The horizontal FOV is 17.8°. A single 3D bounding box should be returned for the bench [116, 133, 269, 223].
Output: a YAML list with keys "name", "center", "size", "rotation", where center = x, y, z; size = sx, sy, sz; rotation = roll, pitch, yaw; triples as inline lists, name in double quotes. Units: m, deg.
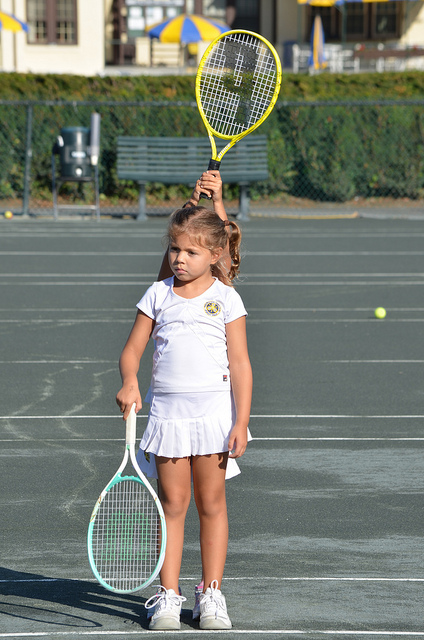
- name: "bench"
  center: [-0.319, -1.960, 17.931]
  size: [2.184, 1.606, 0.811]
  rotation: [0, 1, -2]

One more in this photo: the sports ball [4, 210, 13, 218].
- name: "sports ball"
  center: [-2.993, -1.568, 19.897]
  size: [0.098, 0.125, 0.131]
  rotation: [-4, 10, 2]

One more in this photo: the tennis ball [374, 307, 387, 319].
- name: "tennis ball"
  center: [1.556, -0.064, 12.470]
  size: [0.099, 0.093, 0.234]
  rotation: [2, 10, 7]

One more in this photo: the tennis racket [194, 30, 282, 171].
- name: "tennis racket"
  center: [0.147, -1.346, 7.404]
  size: [0.406, 1.210, 0.052]
  rotation: [25, -30, -21]

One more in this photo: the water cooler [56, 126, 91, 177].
- name: "water cooler"
  center: [-1.977, -2.468, 19.622]
  size: [0.335, 0.941, 0.321]
  rotation: [-1, 15, -3]
